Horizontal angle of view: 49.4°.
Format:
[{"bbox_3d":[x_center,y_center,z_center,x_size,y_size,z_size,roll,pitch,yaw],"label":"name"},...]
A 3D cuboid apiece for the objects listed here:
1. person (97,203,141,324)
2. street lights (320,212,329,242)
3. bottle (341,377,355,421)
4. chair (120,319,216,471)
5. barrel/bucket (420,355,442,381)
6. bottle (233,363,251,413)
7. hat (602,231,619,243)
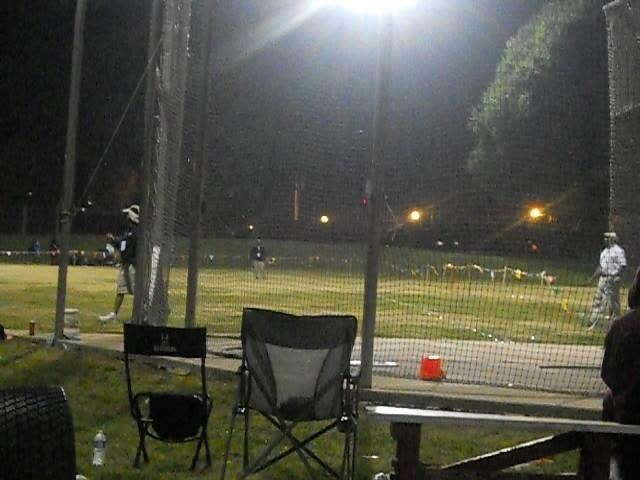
[{"bbox_3d":[-3.144,0.406,10.958,0.434,1.350,1.925,4,-3,-20],"label":"person"},{"bbox_3d":[0.087,-0.182,9.598,0.159,0.340,0.081,1,-3,36],"label":"street lights"},{"bbox_3d":[0.300,1.574,6.966,0.143,0.396,0.268,3,-3,3],"label":"bottle"},{"bbox_3d":[-1.558,1.711,7.247,0.935,1.618,1.123,-1,-9,18],"label":"chair"},{"bbox_3d":[1.444,1.645,8.969,0.238,0.296,0.271,0,-5,0],"label":"barrel/bucket"},{"bbox_3d":[-0.782,1.488,7.023,0.152,0.548,0.386,4,-3,-5],"label":"bottle"},{"bbox_3d":[4.807,-0.053,11.453,0.239,0.150,0.268,2,-2,-10],"label":"hat"}]
